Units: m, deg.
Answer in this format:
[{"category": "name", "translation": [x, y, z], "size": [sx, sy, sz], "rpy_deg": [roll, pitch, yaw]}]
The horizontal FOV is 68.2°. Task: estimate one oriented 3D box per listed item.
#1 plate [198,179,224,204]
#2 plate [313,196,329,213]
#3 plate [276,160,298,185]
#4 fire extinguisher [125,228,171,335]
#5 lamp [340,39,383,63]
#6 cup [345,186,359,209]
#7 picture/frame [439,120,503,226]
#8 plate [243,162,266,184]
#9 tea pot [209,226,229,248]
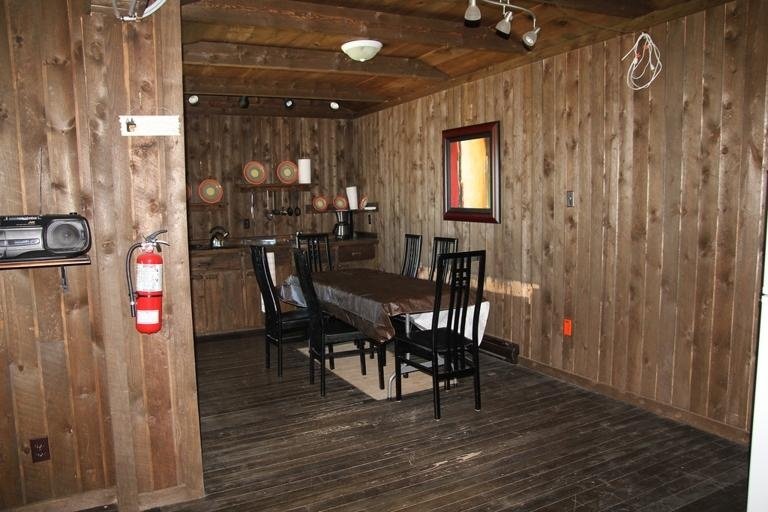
[{"category": "plate", "translation": [-2.251, -0.823, 7.325], "size": [0.298, 0.321, 0.149], "rpy_deg": [-5, 14, -21]}, {"category": "plate", "translation": [-0.905, -0.724, 8.044], "size": [0.208, 0.213, 0.047], "rpy_deg": [-1, -1, -31]}, {"category": "plate", "translation": [-1.317, -1.136, 7.727], "size": [0.288, 0.311, 0.277], "rpy_deg": [-4, 13, -15]}, {"category": "fire extinguisher", "translation": [-1.481, 0.176, 3.582], "size": [0.273, 0.649, 0.228], "rpy_deg": [-5, 14, -20]}, {"category": "lamp", "translation": [-0.218, -1.773, 4.889], "size": [0.237, 0.095, 0.236], "rpy_deg": [-4, 4, -34]}, {"category": "cup", "translation": [-0.444, -0.825, 8.034], "size": [0.170, 0.320, 0.293], "rpy_deg": [-1, 13, -3]}, {"category": "picture/frame", "translation": [0.968, -0.905, 6.111], "size": [0.104, 1.382, 1.124], "rpy_deg": [-2, 5, -33]}, {"category": "plate", "translation": [-1.723, -1.103, 7.561], "size": [0.304, 0.305, 0.222], "rpy_deg": [-3, 13, -11]}, {"category": "tea pot", "translation": [-2.140, -0.240, 7.316], "size": [0.211, 0.110, 0.247], "rpy_deg": [-13, -31, -22]}]
